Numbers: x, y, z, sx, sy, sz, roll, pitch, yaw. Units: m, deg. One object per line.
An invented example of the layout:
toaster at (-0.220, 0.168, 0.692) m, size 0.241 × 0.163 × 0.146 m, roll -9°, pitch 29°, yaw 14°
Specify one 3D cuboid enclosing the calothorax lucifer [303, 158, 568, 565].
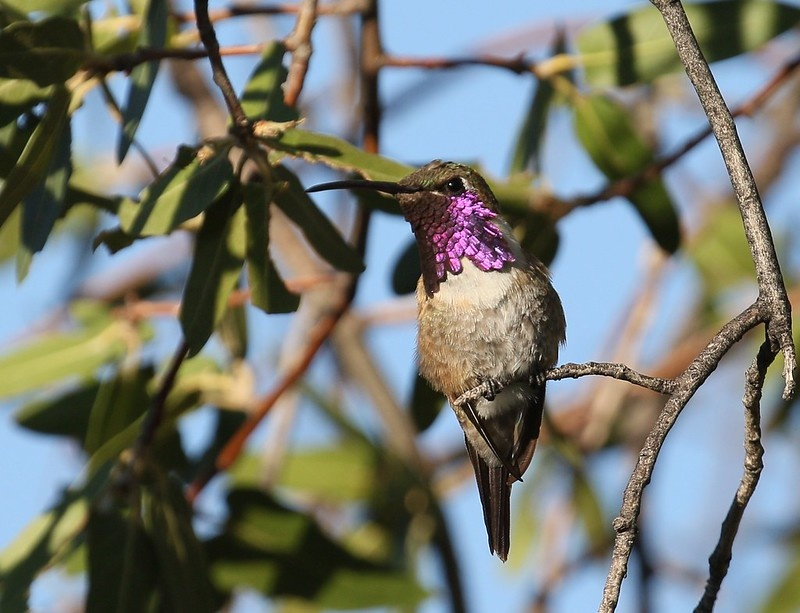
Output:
calothorax lucifer at (0.251, 0.061, 3.458) m, size 0.573 × 1.063 × 0.750 m, roll -19°, pitch 31°, yaw -15°
